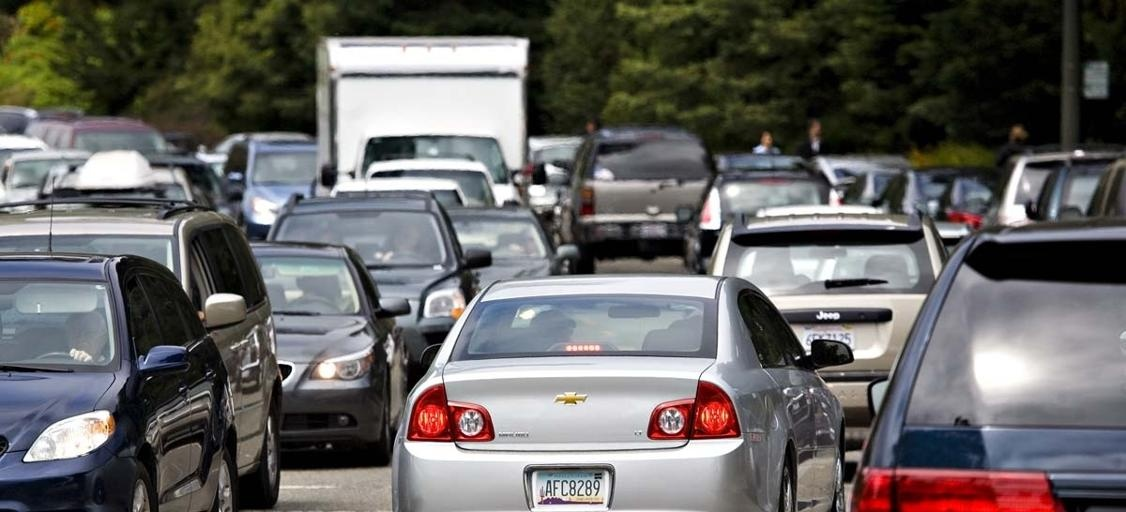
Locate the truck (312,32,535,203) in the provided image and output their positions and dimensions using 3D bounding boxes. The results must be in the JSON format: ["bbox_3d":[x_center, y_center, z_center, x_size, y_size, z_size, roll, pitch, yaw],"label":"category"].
[{"bbox_3d":[-2.999,-3.566,38.072,6.360,5.002,3.478,0,8,-4],"label":"truck"}]
